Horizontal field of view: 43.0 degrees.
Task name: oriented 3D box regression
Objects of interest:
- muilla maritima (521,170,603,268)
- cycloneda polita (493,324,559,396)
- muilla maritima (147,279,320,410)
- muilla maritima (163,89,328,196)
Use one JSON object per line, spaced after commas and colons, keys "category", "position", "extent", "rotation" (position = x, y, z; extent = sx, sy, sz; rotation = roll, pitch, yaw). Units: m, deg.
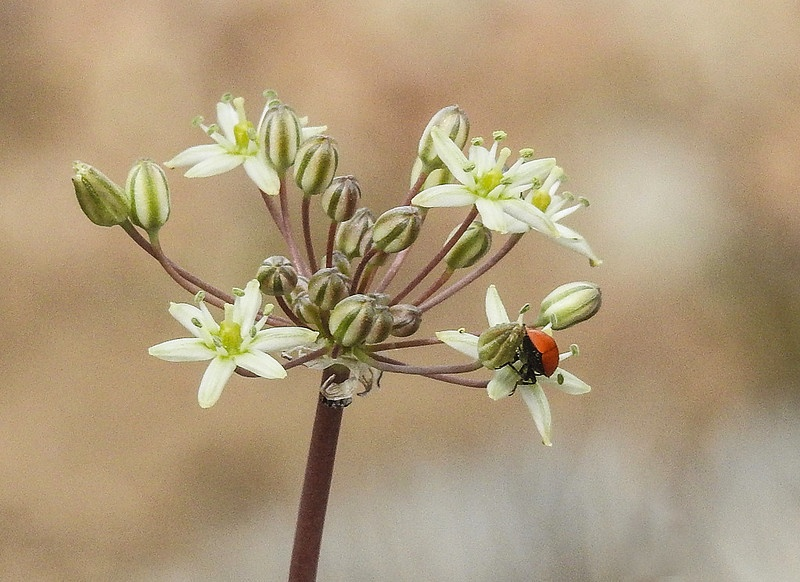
{"category": "muilla maritima", "position": [0.621, -0.309, 4.118], "extent": [0.310, 0.317, 0.598], "rotation": [-3, -80, -25]}
{"category": "cycloneda polita", "position": [0.549, 0.267, 4.157], "extent": [0.264, 0.273, 0.219], "rotation": [20, -48, -24]}
{"category": "muilla maritima", "position": [-0.682, 0.148, 4.096], "extent": [0.737, 0.691, 0.304], "rotation": [5, -74, -25]}
{"category": "muilla maritima", "position": [-0.710, -0.632, 4.258], "extent": [0.490, 0.454, 0.260], "rotation": [13, -45, -18]}
